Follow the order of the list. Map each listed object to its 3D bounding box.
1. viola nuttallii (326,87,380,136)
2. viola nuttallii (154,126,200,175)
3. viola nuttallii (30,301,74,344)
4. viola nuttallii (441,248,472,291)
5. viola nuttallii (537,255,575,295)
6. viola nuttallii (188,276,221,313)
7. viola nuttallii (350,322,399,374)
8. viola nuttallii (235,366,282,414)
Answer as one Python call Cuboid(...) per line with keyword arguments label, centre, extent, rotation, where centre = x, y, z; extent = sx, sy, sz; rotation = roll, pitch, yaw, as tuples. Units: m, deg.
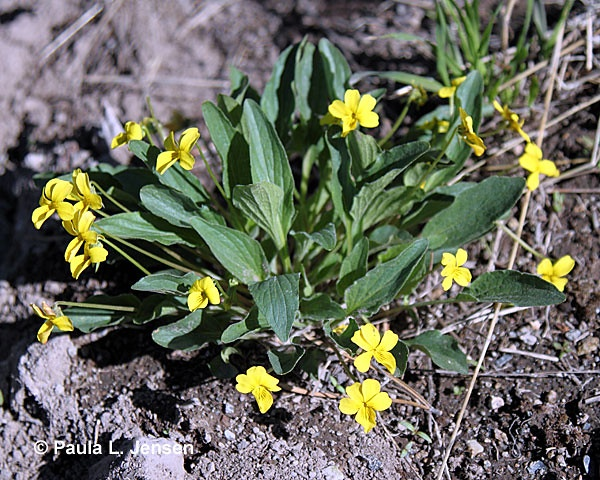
Cuboid(label="viola nuttallii", centre=(0.240, -0.559, 2.576), extent=(0.194, 0.225, 0.077), rotation=(3, 88, 11))
Cuboid(label="viola nuttallii", centre=(-0.514, -0.370, 2.497), extent=(0.178, 0.195, 0.138), rotation=(-1, 52, 0))
Cuboid(label="viola nuttallii", centre=(-1.129, 0.381, 2.721), extent=(0.132, 0.224, 0.223), rotation=(-5, 43, -8))
Cuboid(label="viola nuttallii", centre=(0.660, 0.118, 2.506), extent=(0.126, 0.049, 0.145), rotation=(29, 27, 30))
Cuboid(label="viola nuttallii", centre=(1.094, 0.139, 2.584), extent=(0.189, 0.180, 0.093), rotation=(-30, 85, -8))
Cuboid(label="viola nuttallii", centre=(-0.390, 0.220, 2.469), extent=(0.134, 0.050, 0.151), rotation=(-26, 70, 33))
Cuboid(label="viola nuttallii", centre=(0.310, 0.448, 2.409), extent=(0.168, 0.069, 0.209), rotation=(-38, 77, -5))
Cuboid(label="viola nuttallii", centre=(-0.175, 0.604, 2.417), extent=(0.207, 0.102, 0.230), rotation=(-2, 9, -24))
